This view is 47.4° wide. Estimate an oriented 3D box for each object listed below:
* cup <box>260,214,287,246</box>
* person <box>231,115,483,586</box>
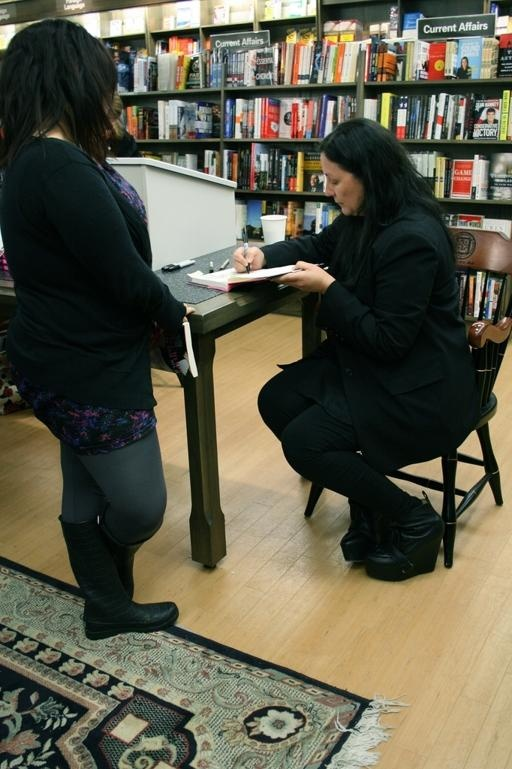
[{"bbox_3d":[0.091,-0.569,2.122,0.127,0.124,0.128,-3,18,1],"label":"cup"},{"bbox_3d":[0.271,-0.104,1.744,0.523,1.283,0.621,-9,16,-30],"label":"person"}]
